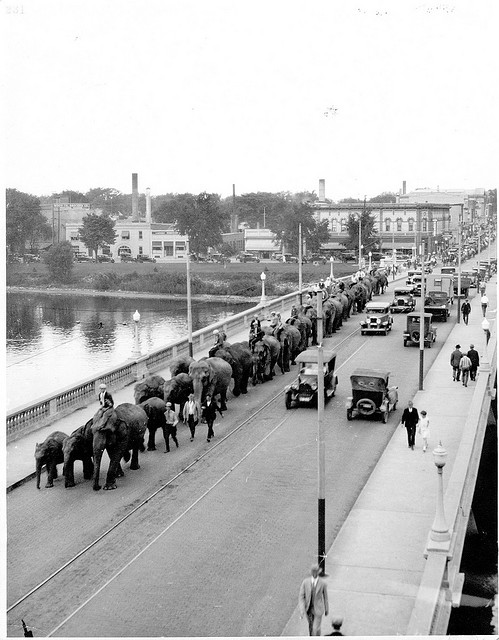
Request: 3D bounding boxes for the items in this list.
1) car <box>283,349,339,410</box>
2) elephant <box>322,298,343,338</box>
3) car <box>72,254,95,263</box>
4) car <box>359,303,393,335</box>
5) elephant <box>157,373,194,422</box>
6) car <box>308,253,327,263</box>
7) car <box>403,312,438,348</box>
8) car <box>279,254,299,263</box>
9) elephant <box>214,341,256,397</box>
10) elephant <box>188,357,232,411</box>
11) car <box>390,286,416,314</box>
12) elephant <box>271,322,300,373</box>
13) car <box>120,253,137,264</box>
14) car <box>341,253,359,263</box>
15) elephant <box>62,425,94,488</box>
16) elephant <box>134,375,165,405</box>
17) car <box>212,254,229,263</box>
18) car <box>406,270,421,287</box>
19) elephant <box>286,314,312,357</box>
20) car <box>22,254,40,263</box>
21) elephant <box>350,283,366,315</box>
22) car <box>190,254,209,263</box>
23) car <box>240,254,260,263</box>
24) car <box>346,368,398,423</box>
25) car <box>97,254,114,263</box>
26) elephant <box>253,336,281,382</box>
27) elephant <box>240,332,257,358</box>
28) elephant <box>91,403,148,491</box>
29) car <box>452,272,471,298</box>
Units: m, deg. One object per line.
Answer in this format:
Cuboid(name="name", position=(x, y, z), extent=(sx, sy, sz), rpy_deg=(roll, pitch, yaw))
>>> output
Cuboid(name="car", position=(2.003, 1.881, 32.449), extent=(1.082, 1.451, 2.547), rpy_deg=(-1, 2, 14))
Cuboid(name="elephant", position=(3.907, -0.161, 48.019), extent=(0.654, 1.367, 2.252), rpy_deg=(0, -1, 27))
Cuboid(name="car", position=(-22.437, -8.499, 133.981), extent=(2.772, 1.454, 1.821), rpy_deg=(3, 3, 4))
Cuboid(name="car", position=(6.292, -0.027, 48.503), extent=(0.951, 1.055, 1.968), rpy_deg=(0, 10, 9))
Cuboid(name="elephant", position=(-2.169, 2.300, 29.667), extent=(0.753, 1.225, 1.849), rpy_deg=(-6, 7, 24))
Cuboid(name="car", position=(8.292, -7.822, 121.207), extent=(2.139, 0.917, 8.425), rpy_deg=(-1, 8, 3))
Cuboid(name="car", position=(7.519, 0.394, 43.495), extent=(0.996, 1.227, 2.109), rpy_deg=(1, 11, 19))
Cuboid(name="car", position=(5.301, -7.844, 129.936), extent=(2.516, 1.514, 1.676), rpy_deg=(-1, 6, 18))
Cuboid(name="elephant", position=(-0.722, 1.737, 34.301), extent=(0.936, 1.827, 2.894), rpy_deg=(-2, 0, 24))
Cuboid(name="elephant", position=(-1.175, 2.083, 30.931), extent=(0.736, 1.558, 2.590), rpy_deg=(-1, -2, 23))
Cuboid(name="car", position=(9.040, -1.264, 58.003), extent=(1.036, 1.200, 2.203), rpy_deg=(0, 5, 16))
Cuboid(name="elephant", position=(1.609, 0.893, 39.480), extent=(0.978, 1.668, 2.382), rpy_deg=(1, -7, 3))
Cuboid(name="car", position=(-16.661, -8.245, 134.289), extent=(2.516, 1.840, 1.636), rpy_deg=(0, 9, 9))
Cuboid(name="car", position=(12.111, -7.629, 119.032), extent=(1.703, 1.032, 1.106), rpy_deg=(-3, 11, 3))
Cuboid(name="elephant", position=(-4.143, 3.381, 24.067), extent=(0.647, 1.351, 1.162), rpy_deg=(2, 8, 19))
Cuboid(name="elephant", position=(-3.047, 2.086, 29.335), extent=(0.458, 0.724, 1.187), rpy_deg=(-3, 6, 21))
Cuboid(name="car", position=(-4.000, -8.528, 136.154), extent=(2.265, 1.633, 1.128), rpy_deg=(-3, 7, 2))
Cuboid(name="car", position=(10.730, -2.799, 64.575), extent=(1.012, 1.027, 1.867), rpy_deg=(-1, 4, 1))
Cuboid(name="elephant", position=(2.070, 0.438, 41.724), extent=(0.719, 1.127, 1.745), rpy_deg=(-3, 6, 10))
Cuboid(name="car", position=(-28.240, -8.168, 127.483), extent=(1.531, 0.863, 1.320), rpy_deg=(2, 3, 5))
Cuboid(name="elephant", position=(6.367, -1.380, 57.161), extent=(0.608, 1.414, 2.249), rpy_deg=(-1, 0, 10))
Cuboid(name="car", position=(-6.843, -8.701, 135.272), extent=(2.489, 1.235, 5.214), rpy_deg=(-1, 8, -3))
Cuboid(name="car", position=(-0.013, -8.294, 131.567), extent=(2.007, 1.191, 1.231), rpy_deg=(0, 8, 3))
Cuboid(name="car", position=(3.858, 2.276, 30.589), extent=(1.250, 1.551, 2.418), rpy_deg=(2, 8, 17))
Cuboid(name="car", position=(-19.879, -8.651, 133.938), extent=(1.301, 1.190, 2.275), rpy_deg=(-3, 2, -36))
Cuboid(name="elephant", position=(0.504, 1.429, 36.787), extent=(0.824, 1.686, 2.433), rpy_deg=(-1, 6, 17))
Cuboid(name="elephant", position=(-0.043, 0.973, 37.226), extent=(0.622, 1.166, 2.134), rpy_deg=(-1, 3, 3))
Cuboid(name="elephant", position=(-3.229, 3.081, 24.655), extent=(0.843, 1.917, 2.920), rpy_deg=(2, 6, 14))
Cuboid(name="car", position=(13.793, -2.304, 64.094), extent=(1.305, 1.430, 2.244), rpy_deg=(0, 2, 22))
